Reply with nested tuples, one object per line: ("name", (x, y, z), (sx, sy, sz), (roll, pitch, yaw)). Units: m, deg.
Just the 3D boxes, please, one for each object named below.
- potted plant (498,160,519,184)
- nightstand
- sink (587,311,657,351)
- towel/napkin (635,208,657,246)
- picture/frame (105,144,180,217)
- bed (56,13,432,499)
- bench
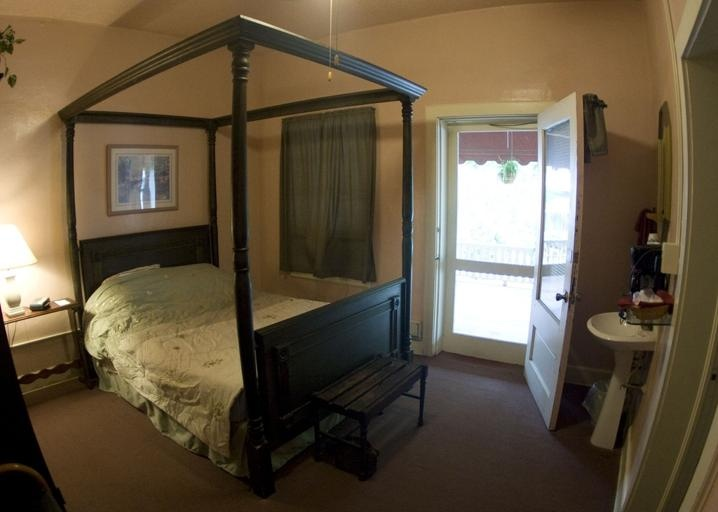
("potted plant", (1.473, -0.823, 5.291), (0.210, 0.252, 0.197), (-1, 3, -12))
("nightstand", (-2.715, 0.741, 4.631), (0.830, 0.808, 0.329), (-6, 2, -34))
("sink", (2.020, 0.611, 4.074), (0.287, 0.158, 0.422), (-12, 8, 17))
("towel/napkin", (2.434, -0.234, 4.480), (0.141, 0.315, 0.408), (2, 11, 16))
("picture/frame", (-2.223, -0.770, 5.349), (0.028, 0.729, 0.696), (11, 13, 44))
("bed", (-1.147, -0.126, 4.795), (3.011, 3.245, 1.934), (4, 11, 27))
("bench", (0.060, 1.157, 4.144), (0.636, 0.608, 1.072), (10, 16, 34))
